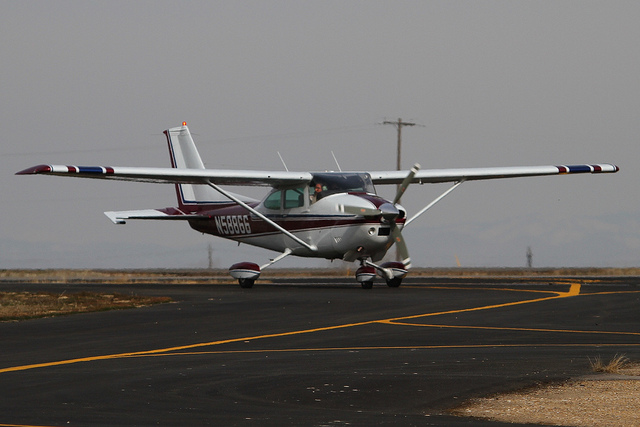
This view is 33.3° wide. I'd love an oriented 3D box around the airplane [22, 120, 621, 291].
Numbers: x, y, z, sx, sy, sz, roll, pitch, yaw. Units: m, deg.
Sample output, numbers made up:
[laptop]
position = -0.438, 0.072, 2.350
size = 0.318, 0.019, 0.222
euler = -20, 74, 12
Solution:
[airplane]
position = -0.208, -0.265, 34.400
size = 15.048, 4.143, 12.307
euler = 3, 0, 7
